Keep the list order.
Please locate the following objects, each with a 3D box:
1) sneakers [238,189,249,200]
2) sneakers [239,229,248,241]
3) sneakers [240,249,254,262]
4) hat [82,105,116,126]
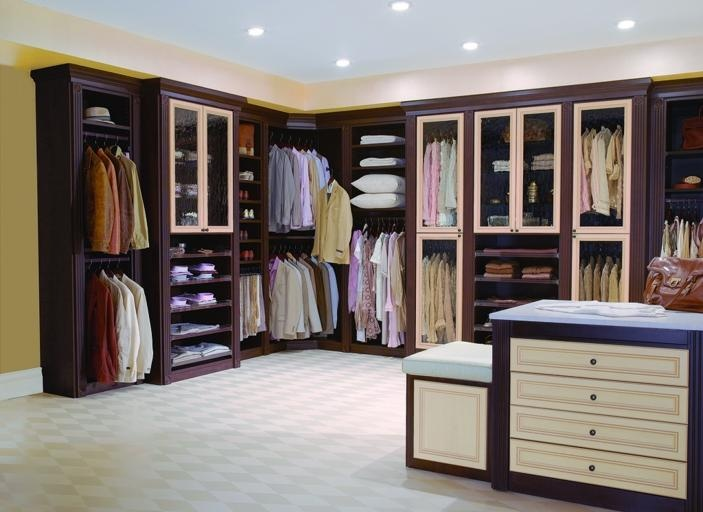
[{"bbox_3d":[-1.271,-0.735,6.633,0.119,0.099,0.118,-2,5,-10],"label":"sneakers"},{"bbox_3d":[-1.261,-0.251,6.543,0.070,0.171,0.131,-8,9,-44],"label":"sneakers"},{"bbox_3d":[-1.232,-0.013,6.602,0.130,0.089,0.227,-2,5,-17],"label":"sneakers"},{"bbox_3d":[-2.398,-1.320,5.290,0.199,0.099,0.255,-5,12,-44],"label":"hat"}]
